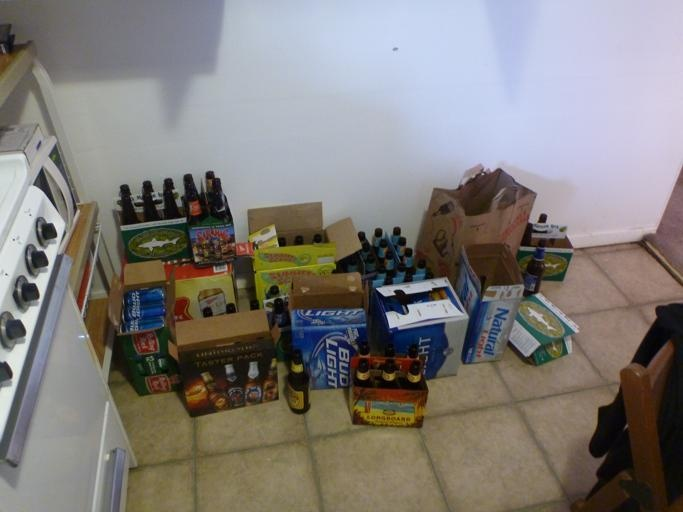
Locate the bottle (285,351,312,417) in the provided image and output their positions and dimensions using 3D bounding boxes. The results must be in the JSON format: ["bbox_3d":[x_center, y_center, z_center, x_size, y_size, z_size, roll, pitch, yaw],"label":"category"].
[{"bbox_3d":[-0.243,0.634,2.595,0.134,0.373,0.205,-7,34,-7],"label":"bottle"}]

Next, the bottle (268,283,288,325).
[{"bbox_3d":[-0.348,0.275,2.710,0.096,0.182,0.220,-8,35,-8],"label":"bottle"}]

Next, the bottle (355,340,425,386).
[{"bbox_3d":[0.220,0.605,2.589,0.373,0.370,0.214,1,61,-1],"label":"bottle"}]
